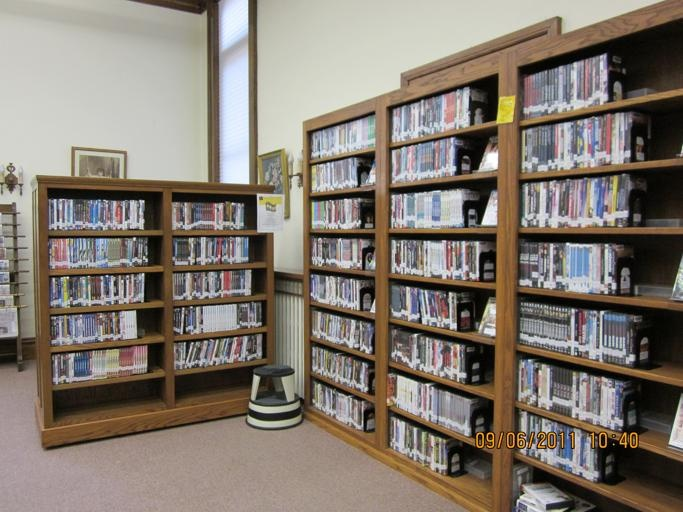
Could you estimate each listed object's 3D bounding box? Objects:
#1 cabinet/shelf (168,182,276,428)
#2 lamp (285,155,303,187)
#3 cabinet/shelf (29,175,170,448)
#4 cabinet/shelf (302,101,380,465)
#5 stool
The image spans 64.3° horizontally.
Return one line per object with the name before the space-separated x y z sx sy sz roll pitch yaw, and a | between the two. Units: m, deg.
cabinet/shelf | -1.071 0.374 4.635 0.910 1.968 0.434 -2 5 -24
lamp | -0.475 -0.865 5.480 0.082 0.333 0.288 -8 16 -30
cabinet/shelf | -1.509 0.414 4.609 1.867 2.024 0.634 0 6 -27
cabinet/shelf | 0.046 0.105 4.205 0.502 2.589 1.283 -7 15 -26
stool | -0.573 1.182 4.627 0.473 0.466 0.469 3 0 39
